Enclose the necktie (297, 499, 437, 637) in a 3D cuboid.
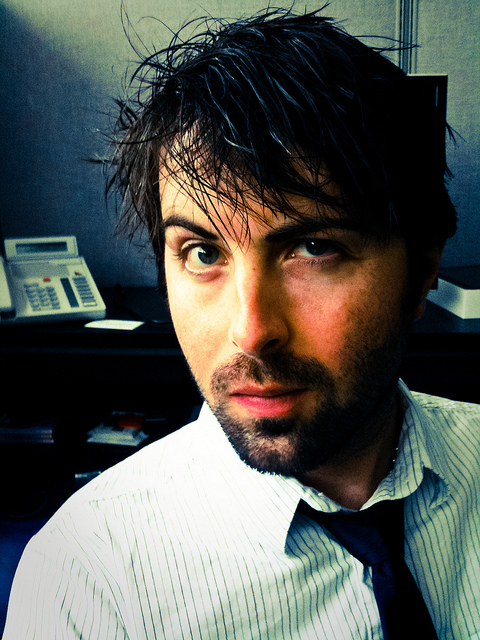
[{"bbox_3d":[0.147,0.289,0.751,0.129,0.101,0.148,-5,24,-5],"label":"necktie"}]
